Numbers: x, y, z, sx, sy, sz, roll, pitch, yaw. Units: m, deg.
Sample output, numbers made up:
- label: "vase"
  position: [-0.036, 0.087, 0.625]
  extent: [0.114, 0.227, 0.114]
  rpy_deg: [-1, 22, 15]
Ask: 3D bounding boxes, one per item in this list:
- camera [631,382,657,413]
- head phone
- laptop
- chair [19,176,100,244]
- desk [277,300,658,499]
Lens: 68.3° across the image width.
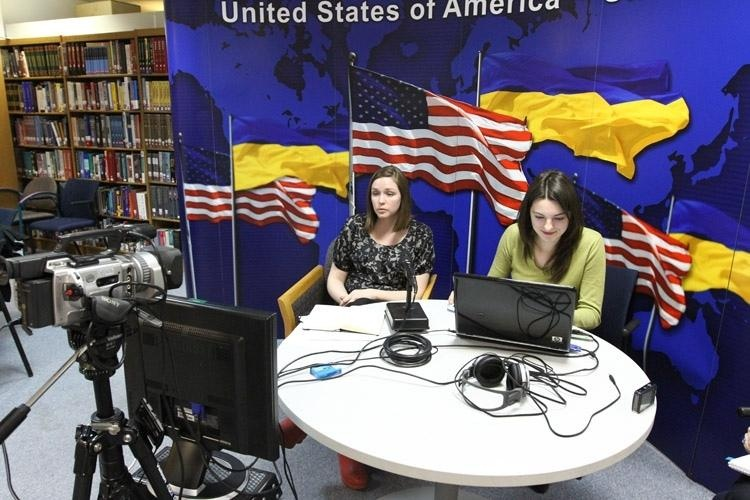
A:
- label: "camera"
  position: [1.161, 0.638, 2.372]
  extent: [0.127, 0.081, 0.037]
  rpy_deg: [-14, 17, -35]
- label: "head phone"
  position: [0.522, 0.580, 2.407]
  extent: [0.275, 0.119, 0.307]
  rpy_deg: [10, 24, 28]
- label: "laptop"
  position: [0.715, 0.223, 2.767]
  extent: [0.577, 0.390, 0.409]
  rpy_deg: [8, 33, 20]
- label: "chair"
  position: [-3.150, -0.298, 5.611]
  extent: [0.622, 0.811, 0.616]
  rpy_deg: [15, 20, 37]
- label: "desk"
  position: [0.360, 0.635, 2.477]
  extent: [1.718, 0.323, 0.905]
  rpy_deg: [4, 15, 10]
